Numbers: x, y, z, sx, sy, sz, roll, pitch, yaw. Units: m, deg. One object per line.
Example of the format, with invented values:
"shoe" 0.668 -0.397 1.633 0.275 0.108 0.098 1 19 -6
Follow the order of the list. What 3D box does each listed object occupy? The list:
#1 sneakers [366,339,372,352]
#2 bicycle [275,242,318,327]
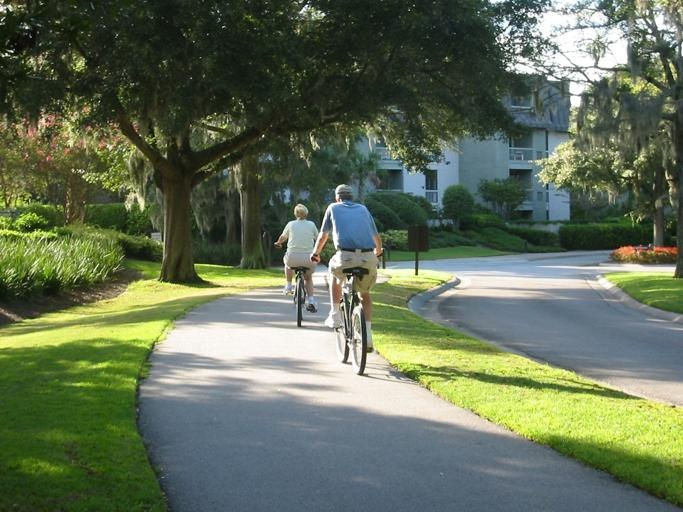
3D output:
"sneakers" 0.410 1.274 10.161 0.105 0.239 0.117 -1 6 5
"bicycle" -0.866 0.691 14.606 0.718 1.153 1.755 1 4 -4
